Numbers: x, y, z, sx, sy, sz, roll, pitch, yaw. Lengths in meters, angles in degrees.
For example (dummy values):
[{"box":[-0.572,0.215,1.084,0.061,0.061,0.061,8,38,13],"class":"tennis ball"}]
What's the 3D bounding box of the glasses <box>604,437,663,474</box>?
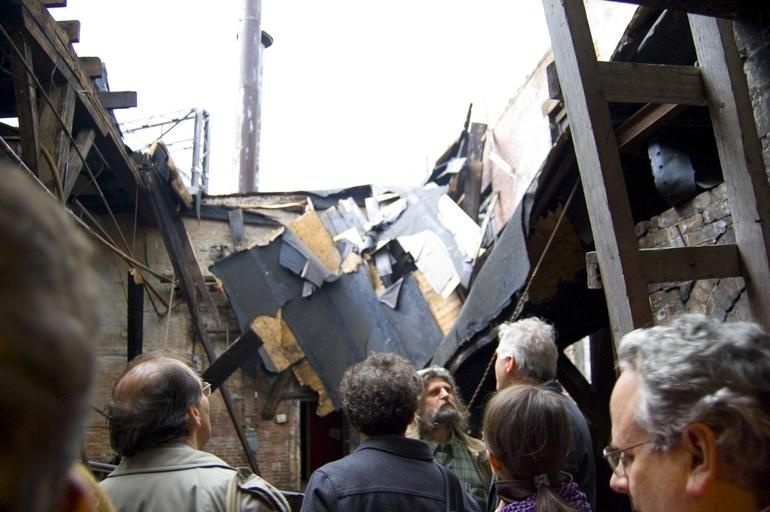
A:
[{"box":[1.522,1.265,5.270,0.224,0.085,0.223,-28,-17,3],"class":"glasses"}]
